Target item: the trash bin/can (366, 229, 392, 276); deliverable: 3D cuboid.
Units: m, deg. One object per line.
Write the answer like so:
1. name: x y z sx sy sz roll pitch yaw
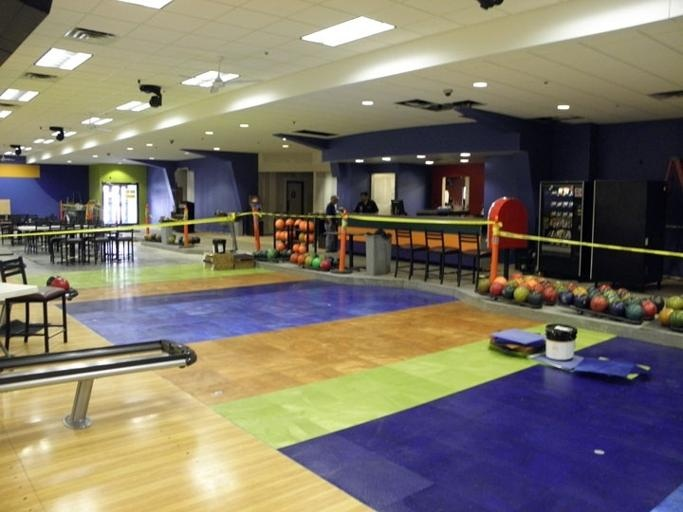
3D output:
1. trash bin/can: 0.845 -0.063 10.160 0.563 0.972 0.304 -2 4 -11

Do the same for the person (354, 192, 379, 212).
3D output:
1. person: 0.714 -1.581 13.508 0.642 0.668 1.333 -2 4 -8

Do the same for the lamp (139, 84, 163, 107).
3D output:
1. lamp: -4.096 -3.474 9.721 0.363 0.435 0.593 -1 4 -2

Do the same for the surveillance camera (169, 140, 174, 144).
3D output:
1. surveillance camera: -6.118 -4.077 16.105 0.146 0.112 0.145 -3 -7 -8
